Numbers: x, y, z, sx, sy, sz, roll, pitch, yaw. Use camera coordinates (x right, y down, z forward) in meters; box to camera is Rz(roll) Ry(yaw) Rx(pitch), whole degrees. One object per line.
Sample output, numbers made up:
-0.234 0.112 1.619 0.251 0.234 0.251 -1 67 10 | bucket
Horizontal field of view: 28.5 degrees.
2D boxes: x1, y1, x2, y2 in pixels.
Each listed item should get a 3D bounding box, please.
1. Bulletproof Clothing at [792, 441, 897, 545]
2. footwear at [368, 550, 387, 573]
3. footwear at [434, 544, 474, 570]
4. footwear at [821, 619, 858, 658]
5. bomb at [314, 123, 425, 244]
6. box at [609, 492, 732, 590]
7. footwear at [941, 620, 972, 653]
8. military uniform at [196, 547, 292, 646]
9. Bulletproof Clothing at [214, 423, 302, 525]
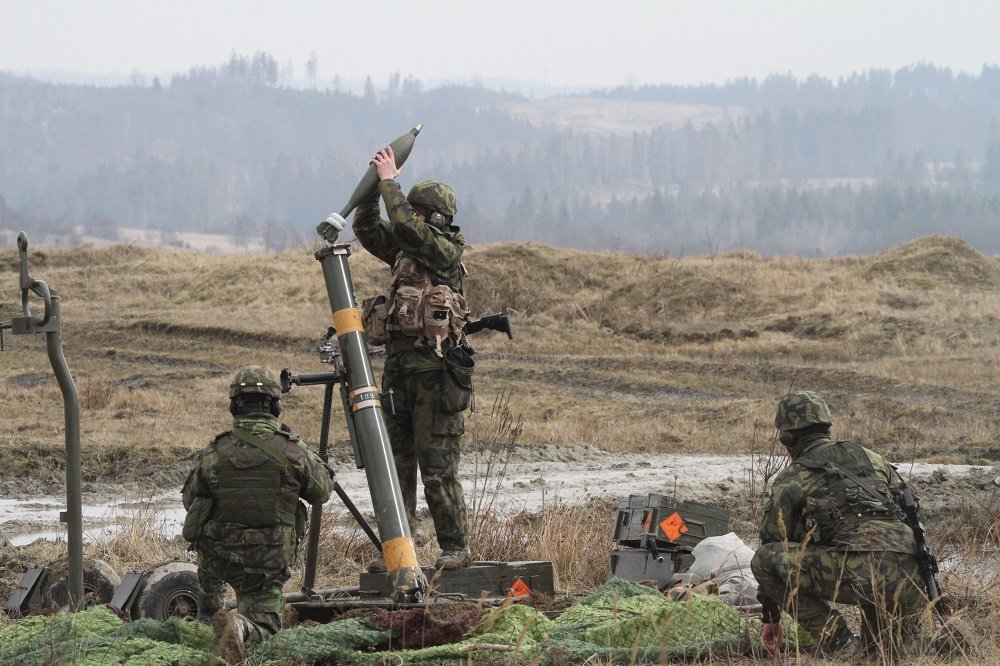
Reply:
5.166 2.423 29.753 1.067 1.190 0.652 -10 -11 -23 | Bulletproof Clothing
-1.861 3.454 29.980 0.285 0.337 0.204 -5 0 -13 | footwear
-0.702 3.385 30.050 0.503 0.249 0.270 1 -4 -24 | footwear
5.116 4.601 29.653 0.524 0.177 0.556 -17 43 -12 | footwear
-2.039 -2.340 30.143 1.544 1.760 0.734 -1 4 -18 | bomb
2.595 3.213 31.230 1.698 1.428 0.727 0 4 2 | box
6.747 4.511 29.363 0.555 0.322 0.476 -8 8 -25 | footwear
-4.160 3.813 30.030 1.334 0.774 1.900 -15 14 5 | military uniform
-3.409 1.958 29.968 1.350 2.007 1.235 1 2 0 | Bulletproof Clothing
